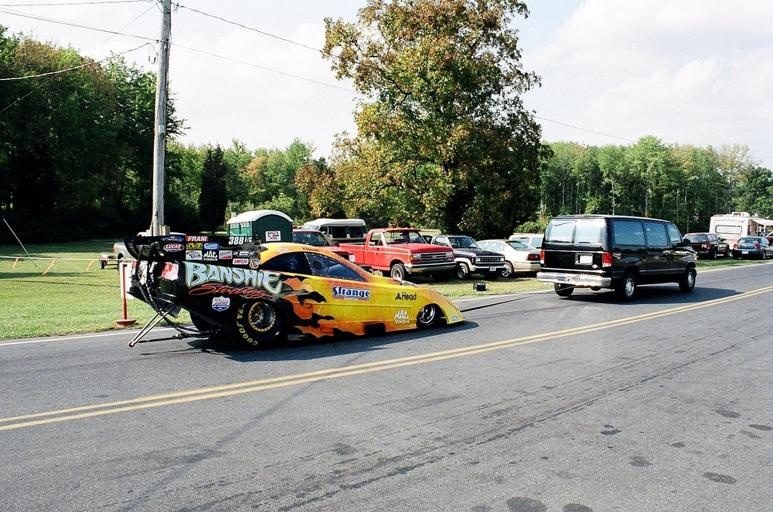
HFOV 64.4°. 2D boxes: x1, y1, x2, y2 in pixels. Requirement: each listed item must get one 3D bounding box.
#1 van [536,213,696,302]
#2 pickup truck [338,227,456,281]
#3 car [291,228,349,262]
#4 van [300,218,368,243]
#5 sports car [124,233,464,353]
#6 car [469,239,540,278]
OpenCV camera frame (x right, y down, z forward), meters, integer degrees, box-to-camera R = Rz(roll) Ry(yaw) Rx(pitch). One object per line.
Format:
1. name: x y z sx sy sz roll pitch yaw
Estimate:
1. van: 7.413 -0.119 19.465 4.640 1.918 2.459 -6 6 -35
2. pickup truck: 0.456 -0.139 24.823 2.133 1.617 3.839 -2 5 -35
3. car: -2.747 -0.463 25.211 2.301 1.155 1.436 -1 3 14
4. van: -2.689 -1.475 33.287 2.572 1.410 1.599 0 1 -29
5. sports car: -2.125 0.645 12.967 5.038 1.673 2.522 -3 3 -26
6. car: 5.424 0.038 26.927 1.284 0.988 2.686 -4 11 -41
